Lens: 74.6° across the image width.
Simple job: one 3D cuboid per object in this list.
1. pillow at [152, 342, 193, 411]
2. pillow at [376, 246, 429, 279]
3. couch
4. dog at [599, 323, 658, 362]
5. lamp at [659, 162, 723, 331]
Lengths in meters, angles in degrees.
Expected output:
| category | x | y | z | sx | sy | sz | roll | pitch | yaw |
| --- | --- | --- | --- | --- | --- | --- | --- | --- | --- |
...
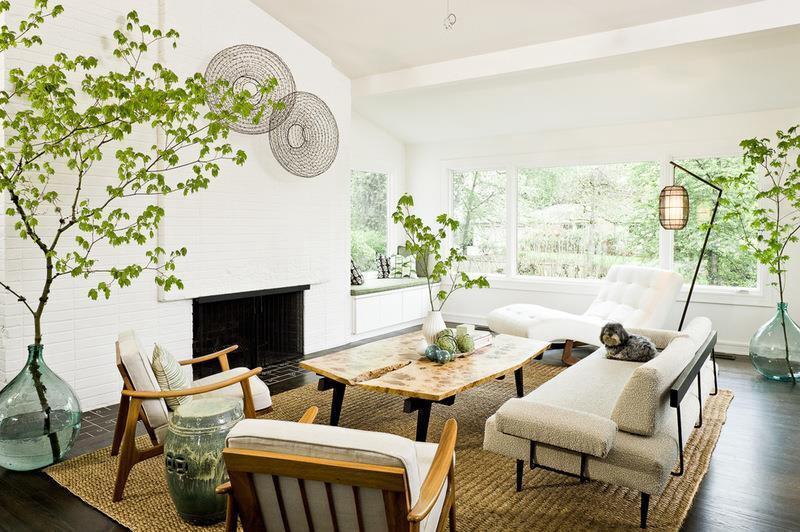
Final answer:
| category | x | y | z | sx | sy | sz | roll | pitch | yaw |
| --- | --- | --- | --- | --- | --- | --- | --- | --- | --- |
| pillow | -1.741 | 0.847 | 4.023 | 0.200 | 0.397 | 0.468 | -16 | -7 | -7 |
| pillow | 0.036 | -0.044 | 8.283 | 0.574 | 0.358 | 0.126 | 0 | -14 | 0 |
| couch | 1.419 | 0.513 | 3.693 | 1.142 | 0.891 | 2.558 | 2 | 4 | 31 |
| dog | 2.103 | 0.691 | 4.912 | 0.459 | 0.299 | 0.347 | -3 | -1 | 40 |
| lamp | 3.540 | -0.252 | 6.499 | 0.664 | 2.224 | 1.471 | 5 | 7 | 30 |
